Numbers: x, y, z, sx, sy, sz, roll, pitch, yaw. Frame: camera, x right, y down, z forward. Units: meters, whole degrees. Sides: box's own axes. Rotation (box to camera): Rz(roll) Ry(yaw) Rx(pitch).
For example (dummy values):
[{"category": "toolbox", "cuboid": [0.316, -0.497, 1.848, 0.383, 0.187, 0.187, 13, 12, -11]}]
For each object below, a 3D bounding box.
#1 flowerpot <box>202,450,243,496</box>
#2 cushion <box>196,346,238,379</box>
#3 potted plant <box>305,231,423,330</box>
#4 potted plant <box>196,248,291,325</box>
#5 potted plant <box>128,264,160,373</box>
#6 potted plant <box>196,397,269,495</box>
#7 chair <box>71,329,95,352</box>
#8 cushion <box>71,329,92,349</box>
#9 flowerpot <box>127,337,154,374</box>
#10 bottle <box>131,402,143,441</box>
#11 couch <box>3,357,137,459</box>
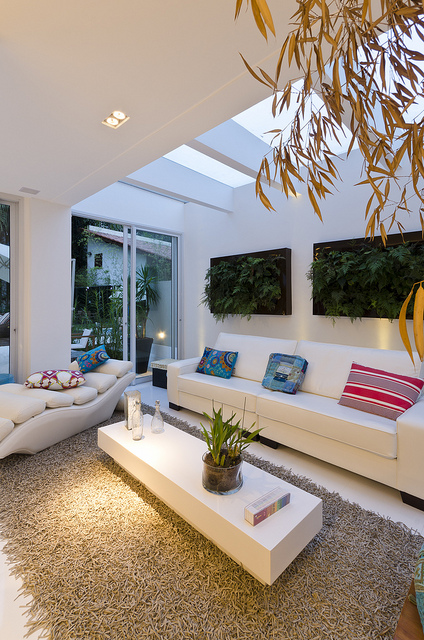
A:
[{"category": "flowerpot", "cuboid": [0.053, 0.757, 2.002, 0.197, 0.170, 0.217, 2, 14, 15]}, {"category": "cushion", "cuboid": [0.069, 0.445, 4.174, 0.392, 0.267, 0.110, 4, -24, 47]}, {"category": "potted plant", "cuboid": [1.282, -0.341, 3.298, 0.338, 0.731, 0.853, -2, 5, -37]}, {"category": "potted plant", "cuboid": [0.345, -0.379, 4.670, 1.139, 0.853, 0.297, 0, -3, 42]}, {"category": "potted plant", "cuboid": [-0.992, -0.036, 5.546, 0.436, 1.625, 0.525, 5, -1, -25]}, {"category": "potted plant", "cuboid": [0.110, 0.652, 2.028, 0.214, 0.454, 0.318, -8, -11, 22]}, {"category": "chair", "cuboid": [-1.529, 0.253, 4.683, 0.179, 0.243, 0.242, -2, -2, 40]}, {"category": "cushion", "cuboid": [-1.555, 0.231, 4.661, 0.196, 0.235, 0.140, 0, 2, -41]}, {"category": "flowerpot", "cuboid": [-1.006, 0.497, 5.497, 0.364, 0.526, 0.415, -3, -4, 43]}, {"category": "bottle", "cuboid": [-0.512, 0.684, 2.669, 0.076, 0.203, 0.230, -1, 5, -11]}, {"category": "couch", "cuboid": [-1.199, 0.650, 3.229, 0.577, 0.405, 1.082, -1, -2, 33]}]
